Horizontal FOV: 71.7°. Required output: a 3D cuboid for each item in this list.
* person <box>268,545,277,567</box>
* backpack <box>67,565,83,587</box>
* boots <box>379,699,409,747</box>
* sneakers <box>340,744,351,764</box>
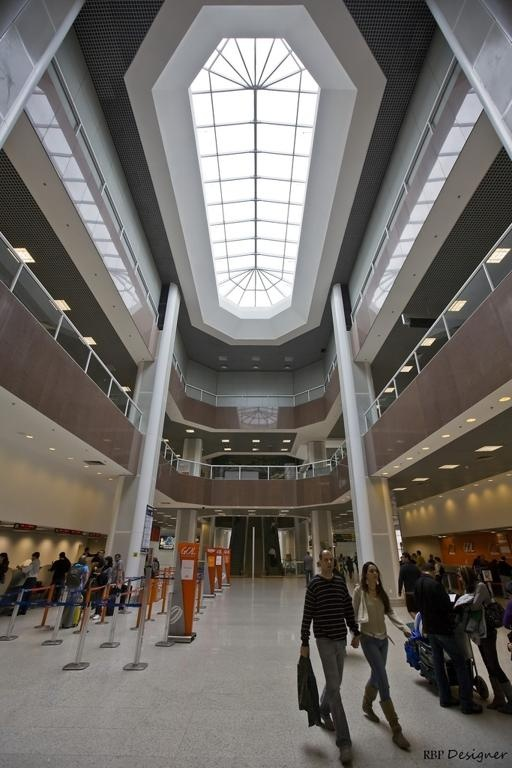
[{"bbox_3d":[1.455,16.193,31.490,0.740,1.565,0.554,2,-22,-3],"label":"person"},{"bbox_3d":[-4.322,4.806,8.490,0.329,0.450,0.636,11,-26,-23],"label":"backpack"},{"bbox_3d":[1.040,2.654,2.667,0.176,0.298,0.508,-6,-25,15],"label":"boots"},{"bbox_3d":[0.569,2.448,2.253,0.039,0.054,0.118,0,-10,2],"label":"sneakers"}]
